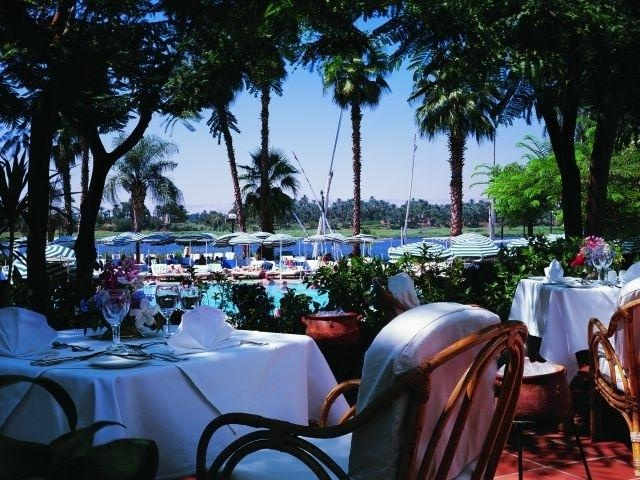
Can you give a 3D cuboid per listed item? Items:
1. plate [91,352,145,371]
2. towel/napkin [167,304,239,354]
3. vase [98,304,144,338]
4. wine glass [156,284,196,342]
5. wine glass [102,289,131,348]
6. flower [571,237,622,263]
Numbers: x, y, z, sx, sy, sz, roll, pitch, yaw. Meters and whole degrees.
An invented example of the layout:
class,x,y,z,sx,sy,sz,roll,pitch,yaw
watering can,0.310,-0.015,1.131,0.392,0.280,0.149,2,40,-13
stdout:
class,x,y,z,sx,sy,sz,roll,pitch,yaw
plate,-0.925,0.568,2.625,0.248,0.046,0.171,0,-1,10
towel/napkin,-0.608,0.439,2.949,0.240,0.273,0.289,5,1,11
vase,-1.102,0.434,3.121,0.169,0.217,0.175,1,-4,-9
wine glass,-0.761,0.383,3.047,0.133,0.303,0.145,2,3,21
wine glass,-1.023,0.362,2.867,0.143,0.328,0.137,4,4,41
flower,2.522,0.091,5.220,0.299,0.359,0.269,5,-3,-37
